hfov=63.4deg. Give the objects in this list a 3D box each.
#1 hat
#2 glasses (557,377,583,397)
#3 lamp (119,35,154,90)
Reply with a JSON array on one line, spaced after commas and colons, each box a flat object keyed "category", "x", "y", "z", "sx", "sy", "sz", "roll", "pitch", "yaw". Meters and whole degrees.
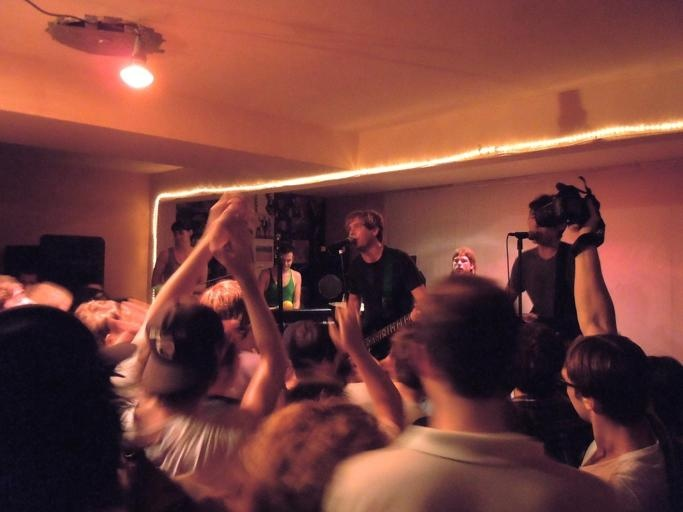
[{"category": "hat", "x": -0.418, "y": 0.251, "z": 1.441, "sx": 0.196, "sy": 0.340, "sz": 0.143, "roll": 18, "pitch": -17, "yaw": -34}, {"category": "glasses", "x": 0.773, "y": 0.452, "z": 1.902, "sx": 0.048, "sy": 0.019, "sz": 0.054, "roll": 15, "pitch": -30, "yaw": 16}, {"category": "lamp", "x": -1.271, "y": -1.159, "z": 3.320, "sx": 0.246, "sy": 0.283, "sz": 0.257, "roll": 2, "pitch": 11, "yaw": 4}]
